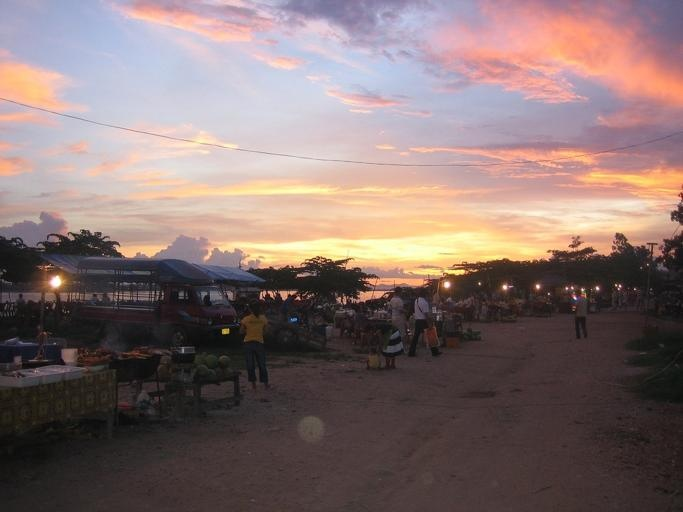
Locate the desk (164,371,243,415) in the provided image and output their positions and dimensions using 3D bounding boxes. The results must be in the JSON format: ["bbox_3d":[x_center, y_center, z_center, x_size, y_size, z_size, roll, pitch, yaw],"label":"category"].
[{"bbox_3d":[-2.916,2.888,11.730,0.609,0.792,1.544,-3,-3,45],"label":"desk"}]

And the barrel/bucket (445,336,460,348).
[{"bbox_3d":[4.770,3.668,23.916,0.504,0.356,0.477,-1,-5,0],"label":"barrel/bucket"}]
